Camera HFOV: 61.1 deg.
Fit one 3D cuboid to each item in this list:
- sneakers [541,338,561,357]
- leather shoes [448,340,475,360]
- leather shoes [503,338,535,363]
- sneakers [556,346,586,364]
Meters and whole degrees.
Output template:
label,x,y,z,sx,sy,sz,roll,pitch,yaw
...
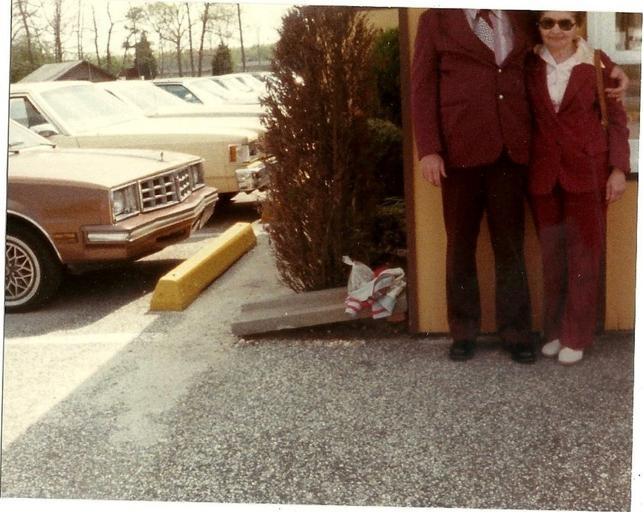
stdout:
label,x,y,z,sx,sy,sz,roll,pitch,yaw
sneakers,1.111,0.441,2.619,0.135,0.049,0.047,-10,16,-28
leather shoes,0.688,0.461,2.656,0.083,0.040,0.122,3,19,13
leather shoes,0.953,0.451,2.615,0.074,0.047,0.133,-29,30,-25
sneakers,1.188,0.473,2.599,0.140,0.050,0.058,-4,46,-5
